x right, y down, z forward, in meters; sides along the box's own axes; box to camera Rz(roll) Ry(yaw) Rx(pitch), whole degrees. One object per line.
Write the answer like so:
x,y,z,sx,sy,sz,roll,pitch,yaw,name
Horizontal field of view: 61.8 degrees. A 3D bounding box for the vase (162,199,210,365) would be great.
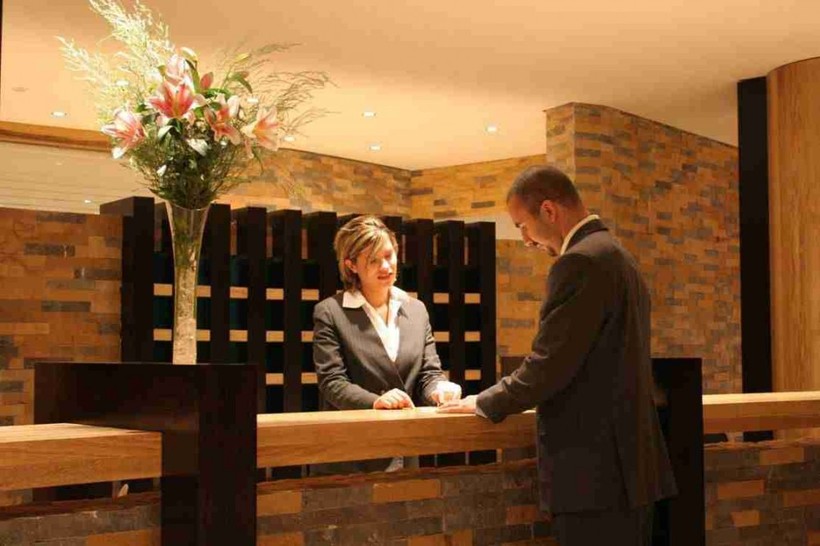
-0.778,0.032,2.319,0.176,0.540,0.127,-6,-7,35,vase
